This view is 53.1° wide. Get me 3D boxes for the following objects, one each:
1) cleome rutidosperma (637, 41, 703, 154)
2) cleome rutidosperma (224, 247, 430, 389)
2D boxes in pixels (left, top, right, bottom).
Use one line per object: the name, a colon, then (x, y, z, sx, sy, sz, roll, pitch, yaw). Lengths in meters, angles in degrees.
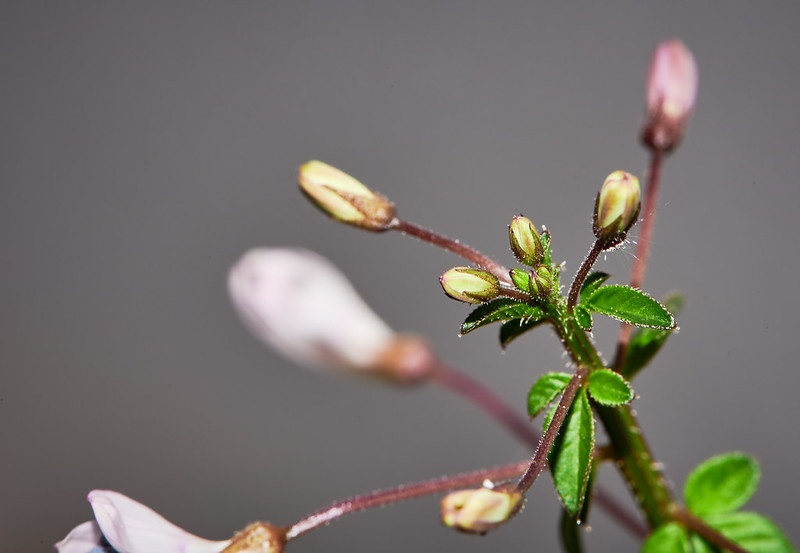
cleome rutidosperma: (0.545, -0.364, 1.630, 0.098, 0.229, 0.074, 12, 22, 18)
cleome rutidosperma: (-0.182, 0.132, 1.912, 0.470, 0.261, 0.188, 38, -19, -14)
